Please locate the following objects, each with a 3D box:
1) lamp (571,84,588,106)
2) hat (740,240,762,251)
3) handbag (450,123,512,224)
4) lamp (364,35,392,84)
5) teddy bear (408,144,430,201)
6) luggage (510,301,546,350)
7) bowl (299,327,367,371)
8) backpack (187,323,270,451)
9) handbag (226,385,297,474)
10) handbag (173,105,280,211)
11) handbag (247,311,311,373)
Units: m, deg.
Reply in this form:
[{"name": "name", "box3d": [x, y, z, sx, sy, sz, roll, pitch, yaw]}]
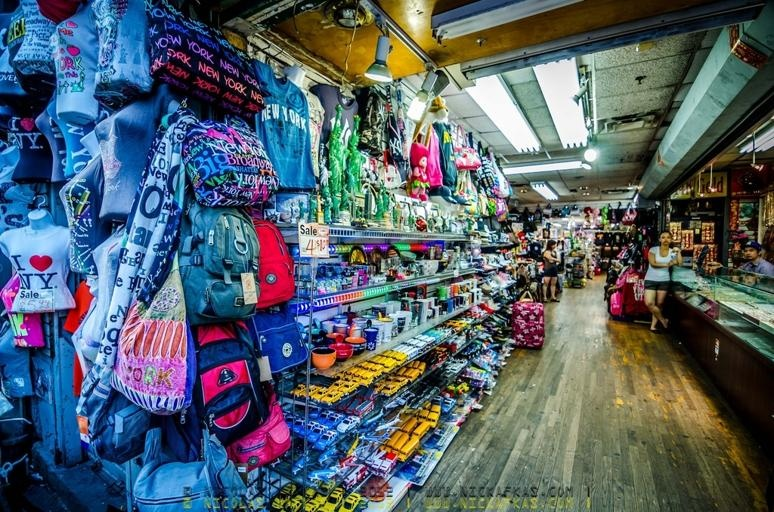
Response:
[{"name": "lamp", "box3d": [2.234, -1.888, 5.664, 0.108, 0.239, 0.098, -7, 35, -24]}, {"name": "hat", "box3d": [5.788, -0.163, 7.736, 0.239, 0.118, 0.141, 22, -11, 1]}, {"name": "handbag", "box3d": [1.119, -0.967, 6.456, 0.498, 1.328, 0.830, -22, -16, 33]}, {"name": "lamp", "box3d": [-0.064, -1.650, 4.114, 0.194, 0.351, 0.289, 1, 4, 1]}, {"name": "teddy bear", "box3d": [0.359, -0.895, 5.236, 0.195, 0.576, 0.338, 2, 4, 18]}, {"name": "luggage", "box3d": [2.240, 1.089, 7.758, 0.559, 0.729, 0.443, 1, 9, 8]}, {"name": "bowl", "box3d": [-0.422, 0.767, 4.091, 0.265, 0.198, 0.425, 2, 2, 15]}, {"name": "backpack", "box3d": [-1.180, 0.927, 3.540, 0.472, 0.840, 0.588, 16, 25, 42]}, {"name": "handbag", "box3d": [-0.976, 1.245, 3.602, 0.326, 0.569, 0.458, -4, 11, 37]}, {"name": "handbag", "box3d": [-1.157, -0.688, 3.417, 0.706, 0.777, 0.299, -18, -18, -41]}, {"name": "handbag", "box3d": [-0.790, 0.596, 3.765, 0.342, 0.471, 0.240, -17, 9, 6]}]
